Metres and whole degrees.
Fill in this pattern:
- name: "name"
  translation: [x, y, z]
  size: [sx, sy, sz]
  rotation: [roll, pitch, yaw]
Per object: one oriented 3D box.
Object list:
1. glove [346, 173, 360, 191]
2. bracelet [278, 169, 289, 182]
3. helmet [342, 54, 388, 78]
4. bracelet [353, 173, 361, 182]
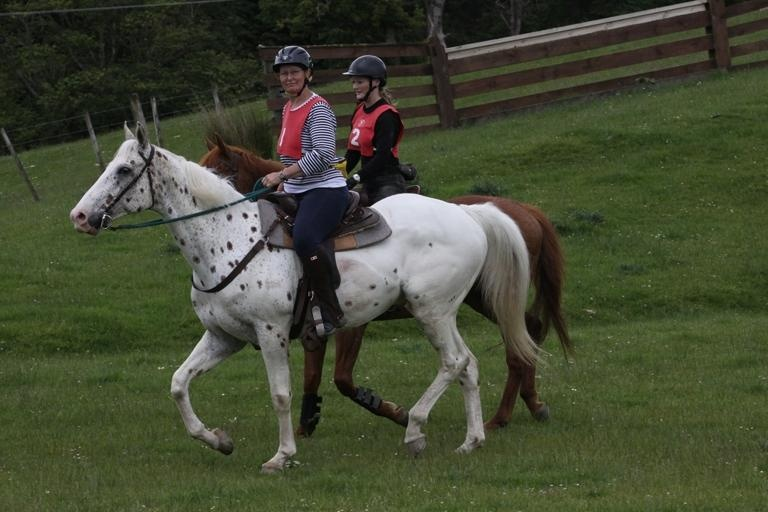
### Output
- name: "glove"
  translation: [-0.634, -1.593, 24.542]
  size: [0.153, 0.245, 0.327]
  rotation: [5, -37, -49]
- name: "bracelet"
  translation: [-2.025, -1.636, 23.187]
  size: [0.175, 0.243, 0.233]
  rotation: [20, 0, -5]
- name: "helmet"
  translation: [-0.356, -4.057, 24.587]
  size: [0.736, 0.328, 0.511]
  rotation: [3, 5, -16]
- name: "bracelet"
  translation: [-0.570, -1.673, 24.440]
  size: [0.133, 0.058, 0.169]
  rotation: [-31, 57, -24]
